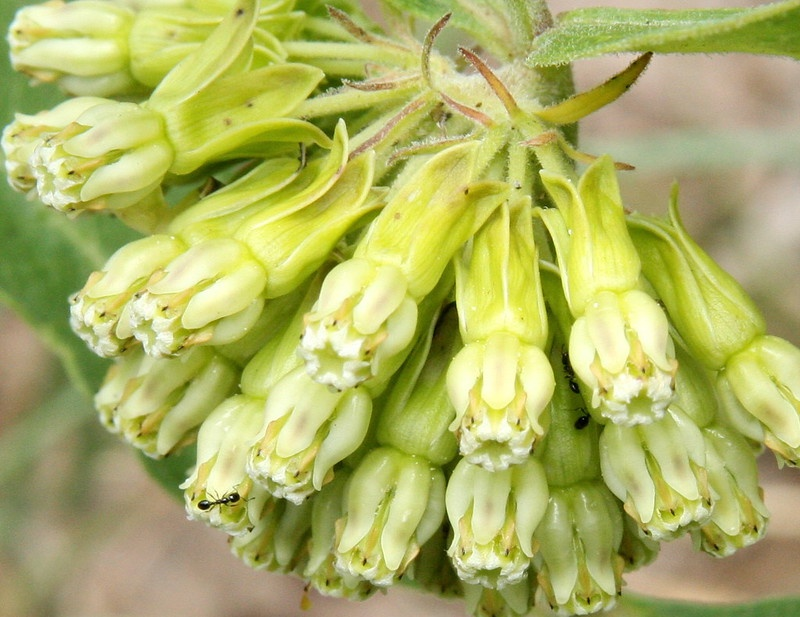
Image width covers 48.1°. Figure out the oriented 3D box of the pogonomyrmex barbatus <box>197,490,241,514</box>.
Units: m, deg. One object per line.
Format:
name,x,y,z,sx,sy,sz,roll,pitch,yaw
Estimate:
pogonomyrmex barbatus,-0.420,0.445,2.078,0.078,0.055,0.026,-18,-18,-6
